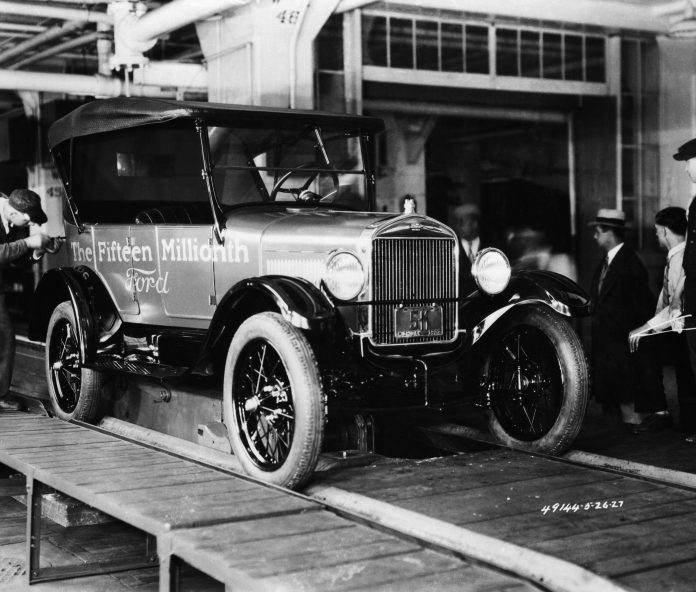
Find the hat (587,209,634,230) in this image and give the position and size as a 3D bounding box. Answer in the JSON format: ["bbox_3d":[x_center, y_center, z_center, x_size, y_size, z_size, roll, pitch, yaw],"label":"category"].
[{"bbox_3d":[2.041,-0.591,6.772,0.221,0.109,0.253,5,-3,43],"label":"hat"}]

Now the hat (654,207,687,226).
[{"bbox_3d":[2.218,-0.532,6.033,0.119,0.149,0.170,-2,21,-26],"label":"hat"}]
